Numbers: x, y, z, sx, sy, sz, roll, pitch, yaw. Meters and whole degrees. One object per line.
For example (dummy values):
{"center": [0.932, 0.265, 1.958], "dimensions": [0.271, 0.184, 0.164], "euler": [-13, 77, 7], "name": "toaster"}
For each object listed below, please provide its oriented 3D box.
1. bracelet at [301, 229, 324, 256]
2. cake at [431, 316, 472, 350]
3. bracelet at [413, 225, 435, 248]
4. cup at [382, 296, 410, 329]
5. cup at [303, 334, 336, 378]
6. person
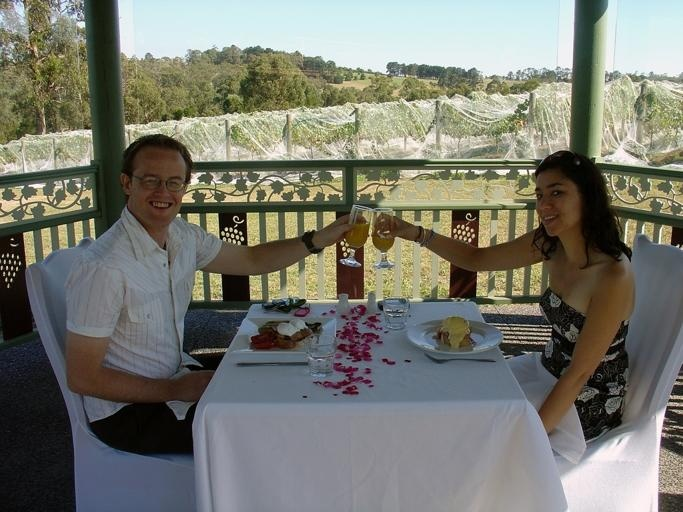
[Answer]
{"center": [-0.128, -0.047, 2.378], "dimensions": [0.069, 0.107, 0.109], "euler": [-15, 57, -3], "name": "bracelet"}
{"center": [0.395, 0.273, 1.910], "dimensions": [0.109, 0.070, 0.109], "euler": [2, 14, 7], "name": "cake"}
{"center": [0.378, -0.083, 2.436], "dimensions": [0.079, 0.090, 0.043], "euler": [7, -7, 15], "name": "bracelet"}
{"center": [0.207, 0.224, 2.087], "dimensions": [0.095, 0.097, 0.110], "euler": [0, -1, 0], "name": "cup"}
{"center": [-0.065, 0.314, 1.703], "dimensions": [0.109, 0.126, 0.113], "euler": [0, 1, 0], "name": "cup"}
{"center": [0.744, 0.083, 2.129], "dimensions": [0.818, 1.218, 0.857], "euler": [-1, 11, -25], "name": "person"}
